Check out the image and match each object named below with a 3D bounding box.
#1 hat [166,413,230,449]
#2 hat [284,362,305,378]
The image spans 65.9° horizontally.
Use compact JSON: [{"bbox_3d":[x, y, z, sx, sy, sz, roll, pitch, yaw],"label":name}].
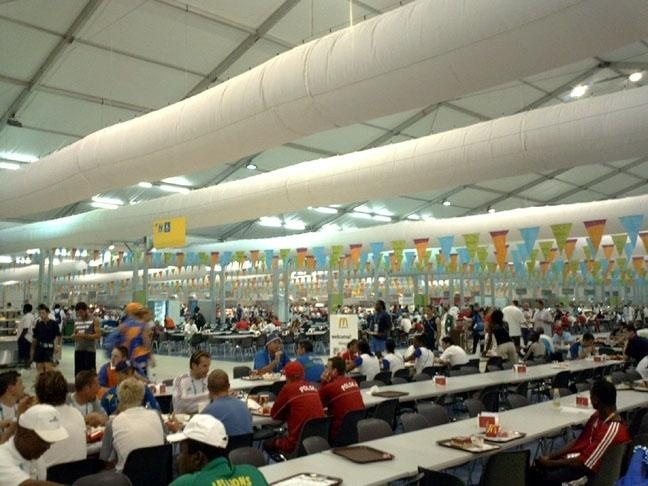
[{"bbox_3d":[-0.722,1.134,2.987,0.248,0.204,0.102,-2,-5,5],"label":"hat"},{"bbox_3d":[-0.367,1.497,5.966,0.246,0.188,0.410,13,-13,-5],"label":"hat"}]
